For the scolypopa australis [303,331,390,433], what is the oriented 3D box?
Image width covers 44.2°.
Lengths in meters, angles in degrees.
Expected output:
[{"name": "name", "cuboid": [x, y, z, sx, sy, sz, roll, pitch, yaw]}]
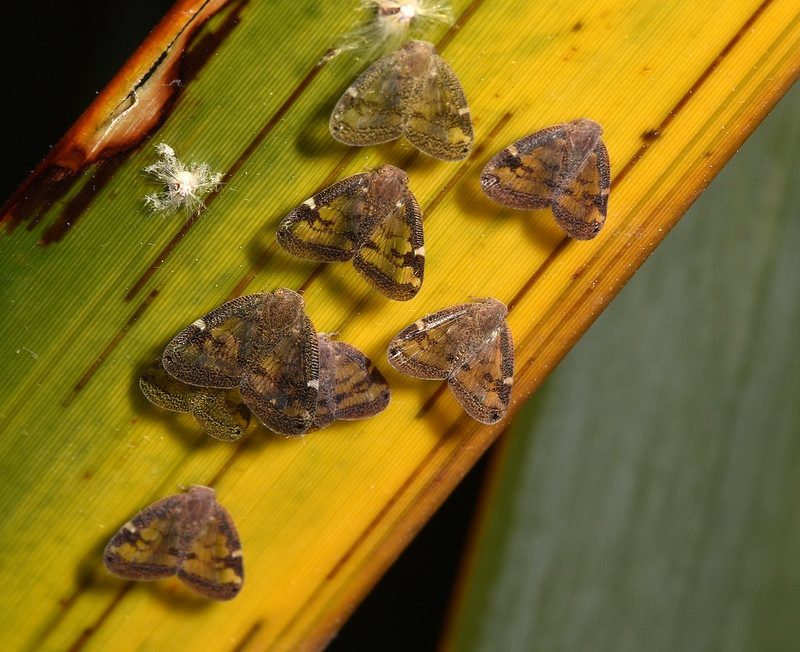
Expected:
[{"name": "scolypopa australis", "cuboid": [-0.191, 0.225, 3.711, 0.326, 0.340, 0.160, 0, -3, -4]}]
